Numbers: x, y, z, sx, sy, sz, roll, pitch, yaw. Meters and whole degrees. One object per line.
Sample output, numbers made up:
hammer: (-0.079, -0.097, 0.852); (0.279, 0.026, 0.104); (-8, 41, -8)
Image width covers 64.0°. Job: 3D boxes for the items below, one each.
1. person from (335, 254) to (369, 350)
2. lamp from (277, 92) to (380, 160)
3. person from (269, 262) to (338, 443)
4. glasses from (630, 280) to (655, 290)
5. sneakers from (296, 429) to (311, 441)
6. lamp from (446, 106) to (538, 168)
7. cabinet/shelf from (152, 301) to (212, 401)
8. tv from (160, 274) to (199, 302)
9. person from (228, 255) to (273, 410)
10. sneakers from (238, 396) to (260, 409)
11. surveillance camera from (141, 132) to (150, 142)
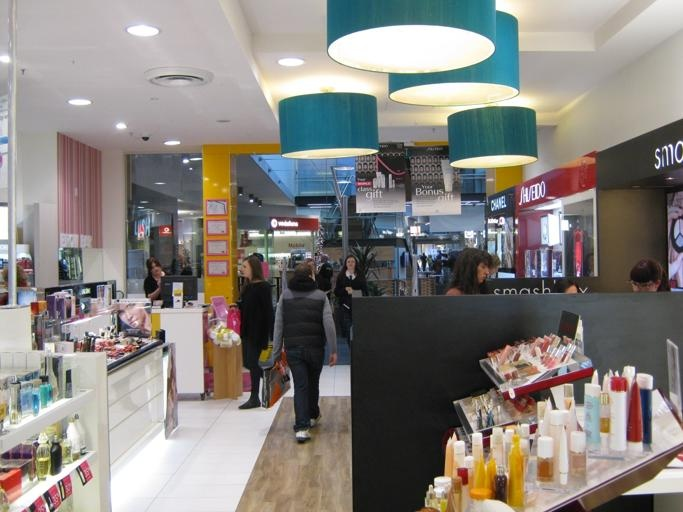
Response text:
person: (0.140, 0.693, 8.504); (0.497, 1.405, 0.922); (-2, 4, -14)
lamp: (-0.149, -1.213, 5.242); (0.656, 0.374, 0.691); (-1, -1, -3)
person: (-0.393, 0.992, 5.727); (0.645, 1.799, 0.493); (-2, 4, -16)
glasses: (2.557, 0.259, 4.633); (0.205, 0.094, 0.139); (1, 4, 31)
sneakers: (-0.394, 1.837, 5.594); (0.074, 0.087, 0.194); (1, 1, 4)
lamp: (1.436, -1.198, 5.683); (0.661, 0.374, 0.678); (-1, -3, -18)
cabinet/shelf: (-2.147, 1.125, 7.098); (0.774, 1.436, 1.358); (0, 0, -1)
tv: (-2.106, 0.394, 7.251); (0.524, 0.290, 0.497); (0, 38, -8)
person: (-1.005, 0.941, 6.492); (0.353, 1.880, 0.577); (-4, 4, -36)
sneakers: (-1.146, 1.824, 6.756); (0.261, 0.197, 0.109); (4, -7, -15)
surveillance camera: (-2.871, -1.751, 8.055); (0.098, 0.079, 0.087); (6, -10, -37)
